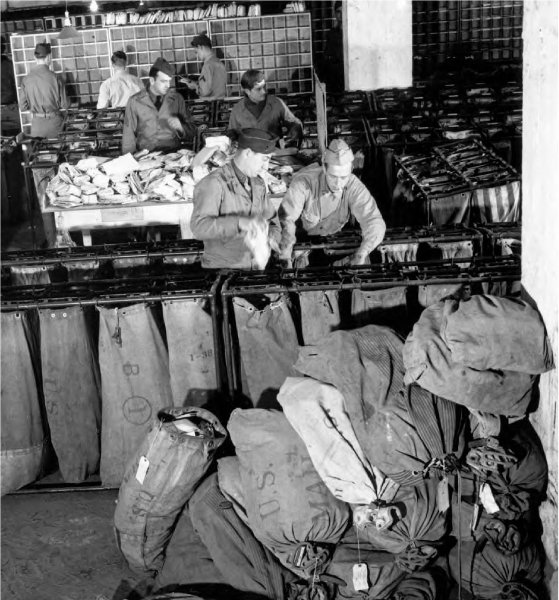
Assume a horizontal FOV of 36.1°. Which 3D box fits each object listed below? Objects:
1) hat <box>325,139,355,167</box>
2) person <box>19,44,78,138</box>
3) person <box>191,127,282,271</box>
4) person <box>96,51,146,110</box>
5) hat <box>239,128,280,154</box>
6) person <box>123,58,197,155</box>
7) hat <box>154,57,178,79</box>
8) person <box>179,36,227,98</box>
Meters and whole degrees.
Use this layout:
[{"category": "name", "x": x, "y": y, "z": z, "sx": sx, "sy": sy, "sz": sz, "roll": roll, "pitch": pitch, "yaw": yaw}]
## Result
[{"category": "hat", "x": 0.360, "y": -0.881, "z": 5.205, "sx": 0.119, "sy": 0.113, "sz": 0.185, "roll": 0, "pitch": 23, "yaw": 5}, {"category": "person", "x": -2.704, "y": -2.234, "z": 10.016, "sx": 0.447, "sy": 1.570, "sz": 0.465, "roll": -2, "pitch": 44, "yaw": -9}, {"category": "person", "x": -0.259, "y": -0.554, "z": 4.908, "sx": 0.499, "sy": 0.815, "sz": 0.459, "roll": -5, "pitch": 15, "yaw": -1}, {"category": "person", "x": -1.897, "y": -2.644, "z": 10.273, "sx": 0.449, "sy": 0.823, "sz": 0.411, "roll": -7, "pitch": 53, "yaw": -18}, {"category": "hat", "x": -0.130, "y": -0.866, "z": 4.759, "sx": 0.205, "sy": 0.158, "sz": 0.268, "roll": -6, "pitch": 16, "yaw": -3}, {"category": "person", "x": -1.148, "y": -1.700, "z": 7.980, "sx": 0.564, "sy": 0.998, "sz": 0.549, "roll": -3, "pitch": 37, "yaw": -15}, {"category": "hat", "x": -1.040, "y": -2.096, "z": 7.789, "sx": 0.142, "sy": 0.178, "sz": 0.315, "roll": -1, "pitch": 16, "yaw": 12}, {"category": "person", "x": -0.875, "y": -2.653, "z": 10.022, "sx": 0.433, "sy": 0.840, "sz": 0.550, "roll": 3, "pitch": 27, "yaw": 9}]
